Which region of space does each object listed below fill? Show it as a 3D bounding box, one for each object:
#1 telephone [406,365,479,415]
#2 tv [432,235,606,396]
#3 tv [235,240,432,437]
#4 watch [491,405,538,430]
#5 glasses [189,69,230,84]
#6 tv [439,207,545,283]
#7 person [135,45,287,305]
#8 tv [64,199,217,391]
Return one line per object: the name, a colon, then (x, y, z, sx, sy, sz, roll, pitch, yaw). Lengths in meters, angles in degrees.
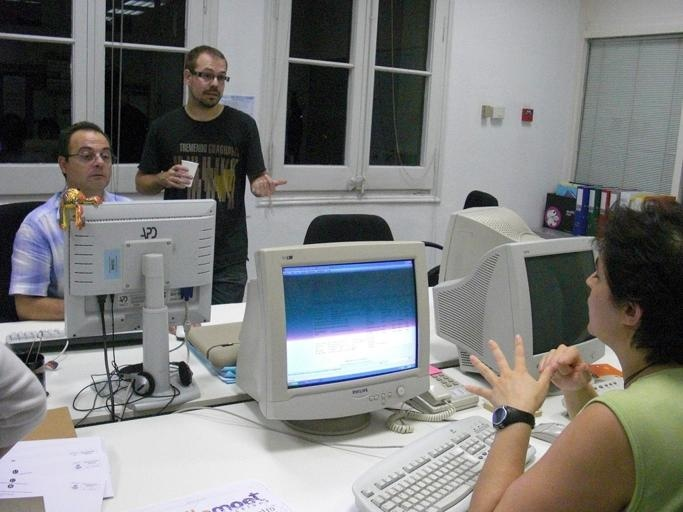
telephone: (0.324, 0.445, 1.849, 0.187, 0.100, 0.261, -6, 5, -22)
tv: (0.684, 0.183, 2.100, 0.495, 0.520, 0.472, -4, 6, -34)
tv: (0.030, 0.221, 1.771, 0.465, 0.525, 0.403, -3, 3, -4)
watch: (0.390, 0.360, 1.220, 0.076, 0.056, 0.085, 14, -9, -6)
glasses: (-0.714, -0.968, 2.907, 0.173, 0.054, 0.075, -3, 15, -22)
tv: (0.591, -0.091, 2.319, 0.272, 0.428, 0.377, -6, 15, -22)
person: (-0.775, -0.172, 3.025, 0.679, 1.913, 0.515, 0, 6, -13)
tv: (-0.657, 0.041, 1.815, 0.457, 0.502, 0.231, -4, 22, -32)
